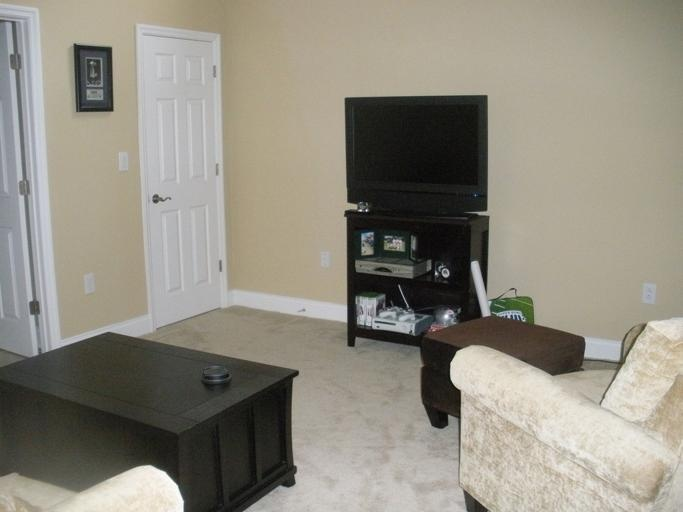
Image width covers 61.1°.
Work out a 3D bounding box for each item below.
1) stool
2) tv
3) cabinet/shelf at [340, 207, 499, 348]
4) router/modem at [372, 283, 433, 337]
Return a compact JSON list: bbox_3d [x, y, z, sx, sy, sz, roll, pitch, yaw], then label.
[{"bbox_3d":[0.814,0.530,3.147,0.641,0.439,0.630,-11,21,-35],"label":"stool"},{"bbox_3d":[0.584,-0.742,4.270,0.885,0.697,0.088,4,17,24],"label":"tv"},{"bbox_3d":[0.540,0.195,4.491,0.991,1.050,0.472,6,13,27],"label":"cabinet/shelf"},{"bbox_3d":[0.502,0.325,4.524,0.448,0.463,0.368,6,12,34],"label":"router/modem"}]
